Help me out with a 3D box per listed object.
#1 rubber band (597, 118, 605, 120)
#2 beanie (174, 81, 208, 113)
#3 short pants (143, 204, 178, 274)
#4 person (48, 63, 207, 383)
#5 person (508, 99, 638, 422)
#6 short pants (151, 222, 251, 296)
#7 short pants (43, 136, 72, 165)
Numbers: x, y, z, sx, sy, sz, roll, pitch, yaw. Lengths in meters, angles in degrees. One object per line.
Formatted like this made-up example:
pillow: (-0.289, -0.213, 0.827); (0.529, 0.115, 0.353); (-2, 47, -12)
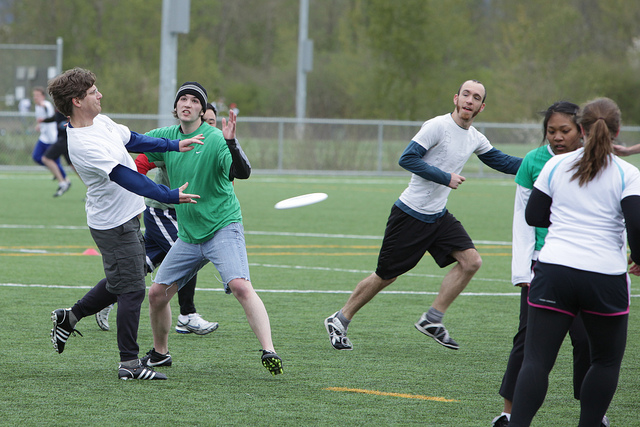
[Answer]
rubber band: (2.019, -0.681, 6.111); (0.048, 0.009, 0.020); (0, 9, -9)
beanie: (-1.109, -1.033, 7.450); (0.232, 0.196, 0.251); (11, -5, -3)
short pants: (-1.473, 0.211, 7.907); (0.243, 0.578, 0.476); (10, 12, -34)
person: (-1.752, 0.054, 7.397); (1.125, 2.585, 1.143); (-2, 9, -19)
person: (1.860, 0.343, 6.141); (0.844, 2.291, 0.512); (3, 9, 7)
short pants: (-1.092, 0.397, 7.615); (0.798, 0.524, 0.325); (-1, -10, 28)
short pants: (-5.089, -1.271, 16.425); (0.314, 0.497, 0.838); (-3, 10, -28)
